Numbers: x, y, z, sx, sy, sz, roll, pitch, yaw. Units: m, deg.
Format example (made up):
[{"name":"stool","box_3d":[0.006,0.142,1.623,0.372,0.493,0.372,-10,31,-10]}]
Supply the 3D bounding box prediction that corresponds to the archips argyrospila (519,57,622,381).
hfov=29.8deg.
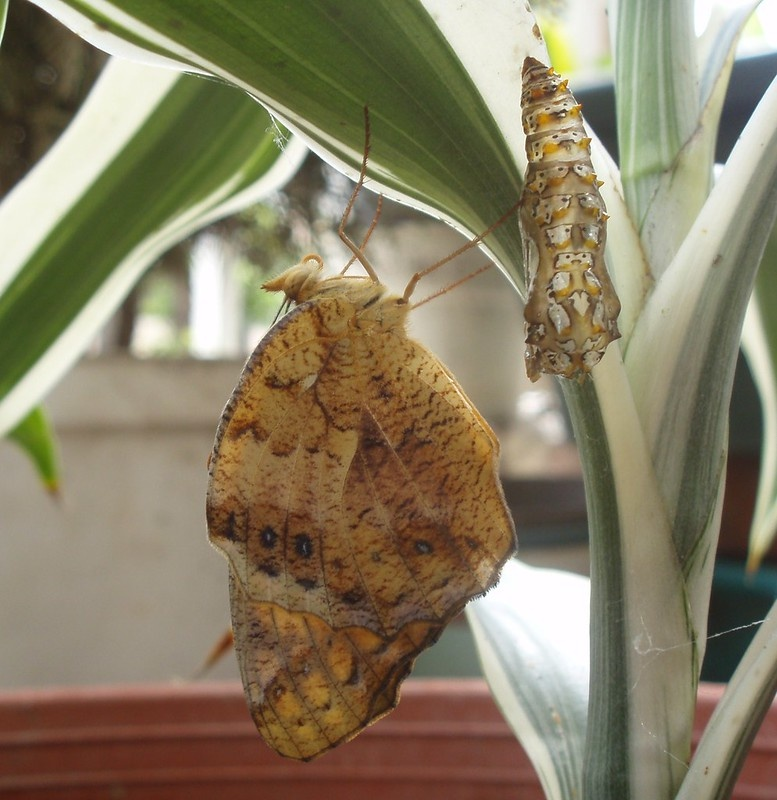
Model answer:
[{"name":"archips argyrospila","box_3d":[0.104,-0.106,0.890,0.059,0.197,0.067,-3,5,4]}]

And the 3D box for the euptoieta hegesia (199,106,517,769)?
[{"name":"euptoieta hegesia","box_3d":[0.015,0.041,1.139,0.234,0.531,0.290,-19,-31,18]}]
